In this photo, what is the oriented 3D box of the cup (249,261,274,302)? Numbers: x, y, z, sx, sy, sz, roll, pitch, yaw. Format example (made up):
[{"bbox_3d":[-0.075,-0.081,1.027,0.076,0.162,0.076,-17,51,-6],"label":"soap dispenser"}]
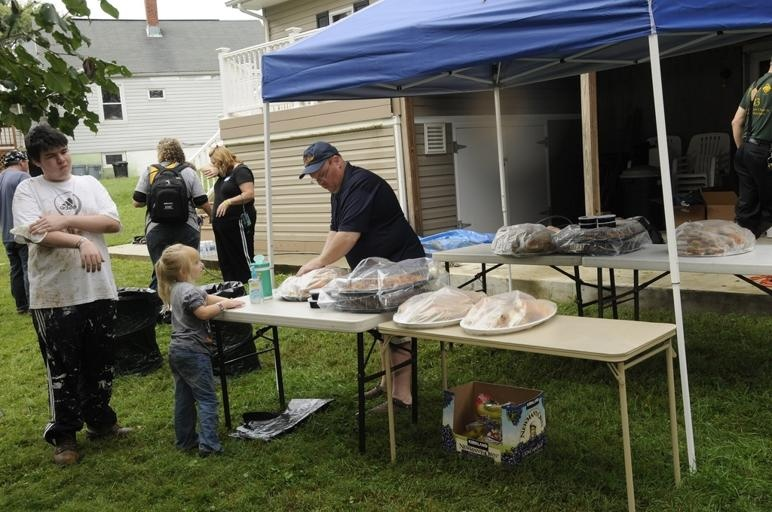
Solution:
[{"bbox_3d":[-1.160,0.196,5.302,0.282,0.384,0.257,-3,1,0],"label":"cup"}]

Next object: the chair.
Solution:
[{"bbox_3d":[5.341,-1.672,10.694,1.219,1.016,1.830,2,9,36],"label":"chair"}]

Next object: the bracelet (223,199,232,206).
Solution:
[{"bbox_3d":[-1.995,-0.672,7.571,0.070,0.048,0.068,7,11,32],"label":"bracelet"}]

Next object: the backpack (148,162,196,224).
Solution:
[{"bbox_3d":[-2.670,-0.795,7.431,0.582,0.714,0.453,-4,8,-25],"label":"backpack"}]

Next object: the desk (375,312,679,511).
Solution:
[{"bbox_3d":[1.181,1.061,4.467,1.796,1.182,0.859,0,8,25],"label":"desk"}]

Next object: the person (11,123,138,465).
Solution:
[{"bbox_3d":[-2.587,0.312,5.011,0.760,2.779,0.535,-7,9,-23],"label":"person"}]

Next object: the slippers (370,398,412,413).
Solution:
[{"bbox_3d":[0.040,1.339,5.435,0.405,0.152,0.139,1,-1,-3],"label":"slippers"}]

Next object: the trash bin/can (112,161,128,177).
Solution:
[{"bbox_3d":[-11.330,-3.707,25.816,0.688,0.600,0.654,-2,-4,-3],"label":"trash bin/can"}]

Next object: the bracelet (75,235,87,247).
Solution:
[{"bbox_3d":[-2.423,-0.117,4.799,0.073,0.080,0.030,-1,7,-38],"label":"bracelet"}]

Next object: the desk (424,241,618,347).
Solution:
[{"bbox_3d":[1.553,0.290,6.340,1.781,0.755,0.983,4,12,20],"label":"desk"}]

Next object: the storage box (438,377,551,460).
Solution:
[{"bbox_3d":[0.819,1.297,4.650,0.760,0.432,0.562,0,1,39],"label":"storage box"}]

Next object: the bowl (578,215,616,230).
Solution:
[{"bbox_3d":[1.946,-0.322,5.560,0.234,0.078,0.178,-6,5,14],"label":"bowl"}]

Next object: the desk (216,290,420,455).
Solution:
[{"bbox_3d":[-0.606,0.985,5.184,1.568,0.950,0.854,-3,-1,34],"label":"desk"}]
